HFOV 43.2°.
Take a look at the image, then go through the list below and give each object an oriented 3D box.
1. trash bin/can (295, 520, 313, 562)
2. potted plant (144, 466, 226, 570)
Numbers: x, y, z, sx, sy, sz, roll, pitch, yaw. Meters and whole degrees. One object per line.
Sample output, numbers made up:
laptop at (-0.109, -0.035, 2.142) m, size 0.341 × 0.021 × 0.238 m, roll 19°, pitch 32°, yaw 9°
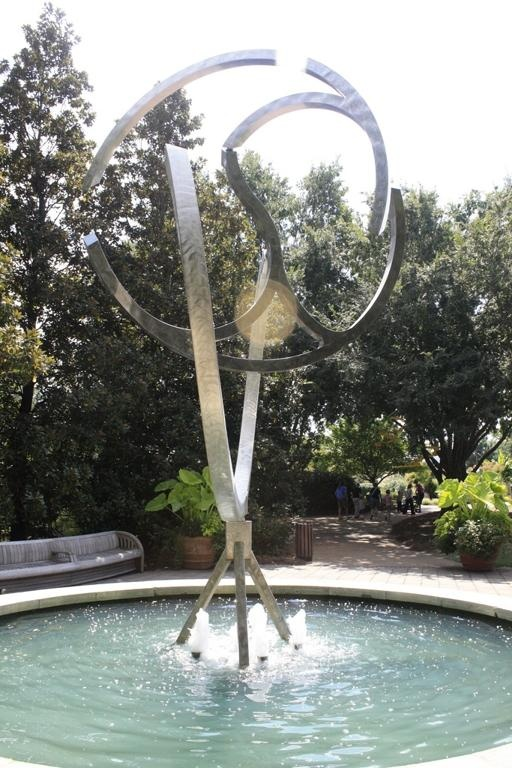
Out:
trash bin/can at (1.055, 3.494, 14.183) m, size 0.349 × 0.785 × 0.756 m, roll 0°, pitch -8°, yaw 1°
potted plant at (-1.332, 2.817, 13.610) m, size 1.454 × 1.959 × 1.615 m, roll -1°, pitch -8°, yaw 9°
